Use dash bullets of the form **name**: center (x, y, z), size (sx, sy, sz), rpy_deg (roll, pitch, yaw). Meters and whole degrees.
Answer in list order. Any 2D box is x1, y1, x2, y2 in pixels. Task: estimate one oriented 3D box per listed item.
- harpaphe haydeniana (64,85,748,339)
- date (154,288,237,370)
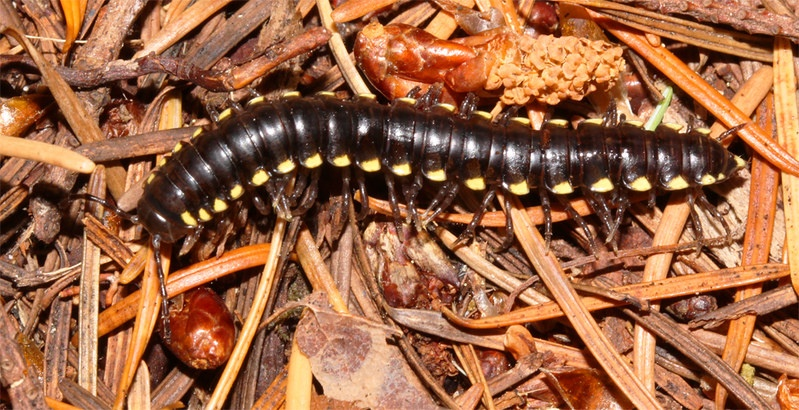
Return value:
- **harpaphe haydeniana**: center (0.148, 0.125, 7.365), size (5.975, 2.742, 0.500), rpy_deg (3, -10, -3)
- **date**: center (-2.112, 1.304, 7.398), size (0.693, 0.884, 0.513), rpy_deg (-24, -23, -9)
